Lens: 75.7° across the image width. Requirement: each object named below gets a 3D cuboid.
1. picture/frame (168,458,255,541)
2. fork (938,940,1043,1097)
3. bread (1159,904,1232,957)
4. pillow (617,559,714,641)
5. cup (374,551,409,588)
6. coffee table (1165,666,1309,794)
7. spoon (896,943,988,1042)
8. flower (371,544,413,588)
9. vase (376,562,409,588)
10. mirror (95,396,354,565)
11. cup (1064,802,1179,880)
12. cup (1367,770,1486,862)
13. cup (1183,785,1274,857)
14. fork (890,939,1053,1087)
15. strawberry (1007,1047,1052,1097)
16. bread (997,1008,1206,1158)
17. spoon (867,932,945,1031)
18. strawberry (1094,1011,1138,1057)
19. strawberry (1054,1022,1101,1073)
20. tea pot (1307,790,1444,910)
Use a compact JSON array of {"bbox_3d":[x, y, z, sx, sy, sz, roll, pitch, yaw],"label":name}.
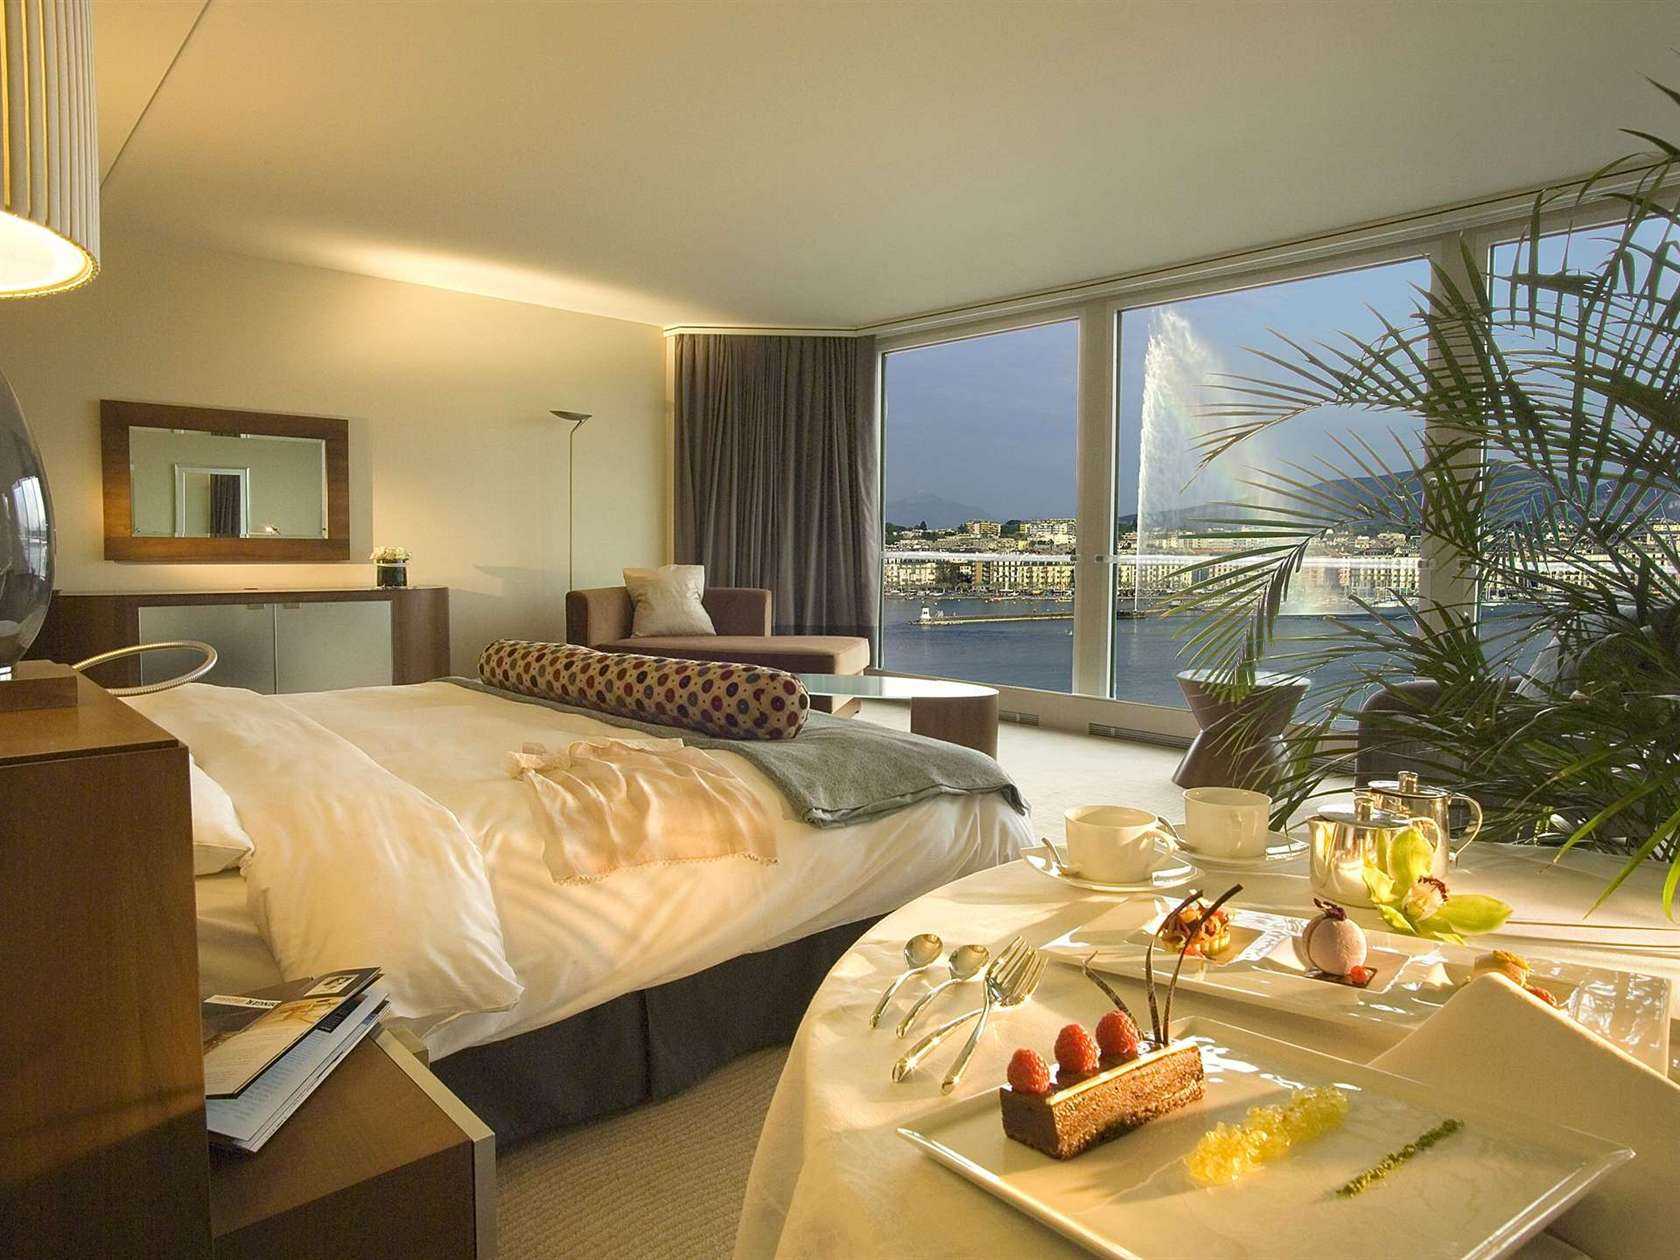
[{"bbox_3d":[-3.493,-0.750,5.899,0.467,0.550,0.040,-1,4,-44],"label":"picture/frame"},{"bbox_3d":[0.140,0.335,0.996,0.039,0.029,0.252,-3,18,23],"label":"fork"},{"bbox_3d":[0.350,0.293,1.054,0.050,0.021,0.061,1,2,41],"label":"bread"},{"bbox_3d":[-1.066,-0.144,6.719,0.727,0.668,0.377,0,-4,-23],"label":"pillow"},{"bbox_3d":[-2.574,-0.363,6.132,0.196,0.255,0.205,-1,2,0],"label":"cup"},{"bbox_3d":[1.294,0.317,3.511,0.489,0.432,0.445,-4,7,-38],"label":"coffee table"},{"bbox_3d":[0.094,0.321,1.022,0.034,0.025,0.164,-4,17,25],"label":"spoon"},{"bbox_3d":[-2.583,-0.382,6.182,0.218,0.235,0.230,0,-1,45],"label":"flower"},{"bbox_3d":[-2.578,-0.324,6.201,0.148,0.147,0.151,-2,-1,29],"label":"vase"},{"bbox_3d":[-3.404,-0.809,5.957,1.240,0.895,0.051,-2,-7,-27],"label":"mirror"},{"bbox_3d":[0.334,0.247,1.281,0.088,0.064,0.113,-3,5,-45],"label":"cup"},{"bbox_3d":[0.691,0.215,1.229,0.078,0.079,0.045,1,2,44],"label":"cup"},{"bbox_3d":[0.483,0.224,1.341,0.077,0.066,0.102,1,7,15],"label":"cup"},{"bbox_3d":[0.124,0.323,0.976,0.055,0.031,0.208,1,13,19],"label":"fork"},{"bbox_3d":[0.135,0.321,0.778,0.026,0.034,0.018,4,19,22],"label":"strawberry"},{"bbox_3d":[0.203,0.330,0.829,0.170,0.083,0.071,1,4,-38],"label":"bread"},{"bbox_3d":[0.056,0.334,1.022,0.032,0.020,0.133,15,33,28],"label":"spoon"},{"bbox_3d":[0.210,0.311,0.819,0.030,0.031,0.031,-5,-1,-1],"label":"strawberry"},{"bbox_3d":[0.175,0.309,0.800,0.028,0.028,0.029,-1,-3,-13],"label":"strawberry"},{"bbox_3d":[0.597,0.243,1.206,0.152,0.120,0.110,-4,-6,28],"label":"tea pot"}]
